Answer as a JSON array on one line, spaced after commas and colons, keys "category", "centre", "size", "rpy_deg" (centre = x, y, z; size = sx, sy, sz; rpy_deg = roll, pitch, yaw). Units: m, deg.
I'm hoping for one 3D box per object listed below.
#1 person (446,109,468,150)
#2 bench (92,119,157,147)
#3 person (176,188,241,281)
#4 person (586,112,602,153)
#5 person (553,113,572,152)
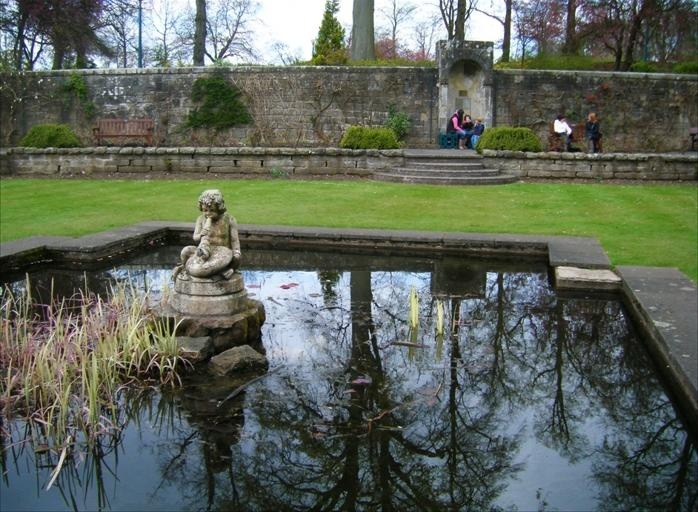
[{"category": "person", "centre": [3.831, -4.418, 21.947], "size": [0.713, 1.353, 2.353], "rpy_deg": [1, 8, 7]}, {"category": "bench", "centre": [-8.821, -4.908, 24.591], "size": [2.271, 1.095, 2.523], "rpy_deg": [-1, 9, -13]}, {"category": "person", "centre": [-1.679, -0.263, 7.425], "size": [0.717, 1.021, 0.504], "rpy_deg": [-2, 8, -17]}, {"category": "person", "centre": [7.476, -3.753, 19.240], "size": [0.395, 1.337, 0.391], "rpy_deg": [12, 36, 35]}, {"category": "person", "centre": [7.012, -3.944, 20.550], "size": [0.538, 1.396, 0.461], "rpy_deg": [-8, -21, 42]}]
